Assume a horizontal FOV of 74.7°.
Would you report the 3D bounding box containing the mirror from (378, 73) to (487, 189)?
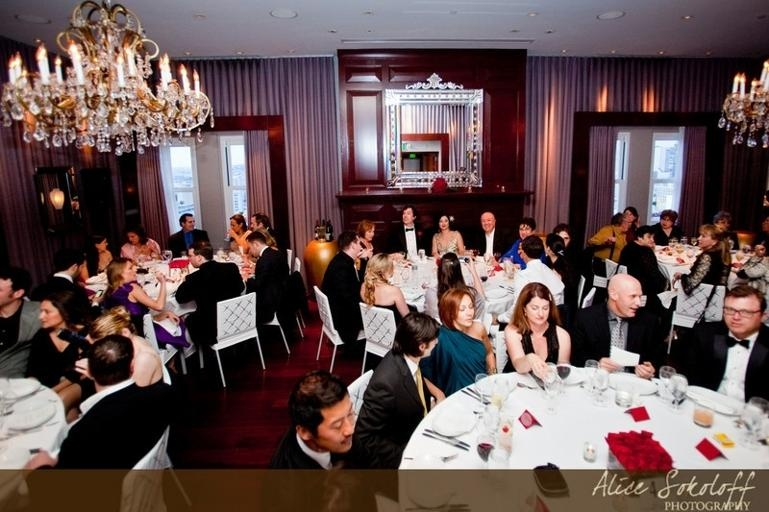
[{"bbox_3d":[0.781,-2.171,8.414,1.900,2.098,0.108,-1,7,-6],"label":"mirror"}]
